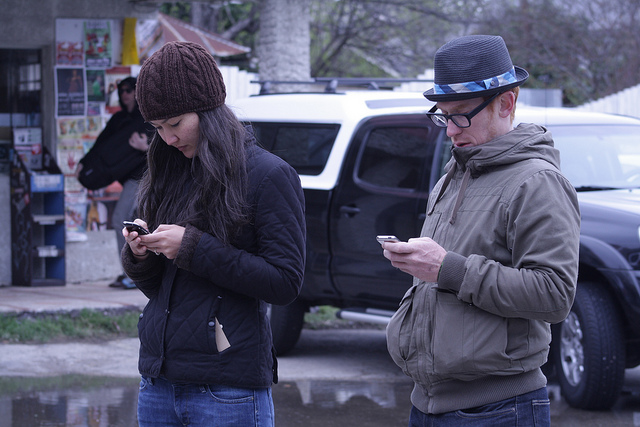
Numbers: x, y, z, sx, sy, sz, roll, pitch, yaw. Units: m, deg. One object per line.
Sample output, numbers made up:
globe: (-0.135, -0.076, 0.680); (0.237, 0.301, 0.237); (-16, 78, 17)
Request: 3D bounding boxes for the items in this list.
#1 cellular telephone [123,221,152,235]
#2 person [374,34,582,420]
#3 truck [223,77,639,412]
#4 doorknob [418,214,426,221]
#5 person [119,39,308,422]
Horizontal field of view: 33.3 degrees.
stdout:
cellular telephone: (-0.958, 0.075, 5.658); (0.146, 0.079, 0.119); (3, 16, -10)
person: (0.870, 0.131, 5.749); (1.026, 2.095, 0.715); (10, 16, 14)
truck: (1.047, 0.029, 9.776); (2.228, 2.000, 4.181); (0, 0, -37)
doorknob: (0.850, 0.034, 8.971); (0.036, 0.030, 0.057); (0, -5, -21)
person: (-0.581, 0.137, 5.745); (1.002, 2.018, 0.674); (7, 16, 3)
